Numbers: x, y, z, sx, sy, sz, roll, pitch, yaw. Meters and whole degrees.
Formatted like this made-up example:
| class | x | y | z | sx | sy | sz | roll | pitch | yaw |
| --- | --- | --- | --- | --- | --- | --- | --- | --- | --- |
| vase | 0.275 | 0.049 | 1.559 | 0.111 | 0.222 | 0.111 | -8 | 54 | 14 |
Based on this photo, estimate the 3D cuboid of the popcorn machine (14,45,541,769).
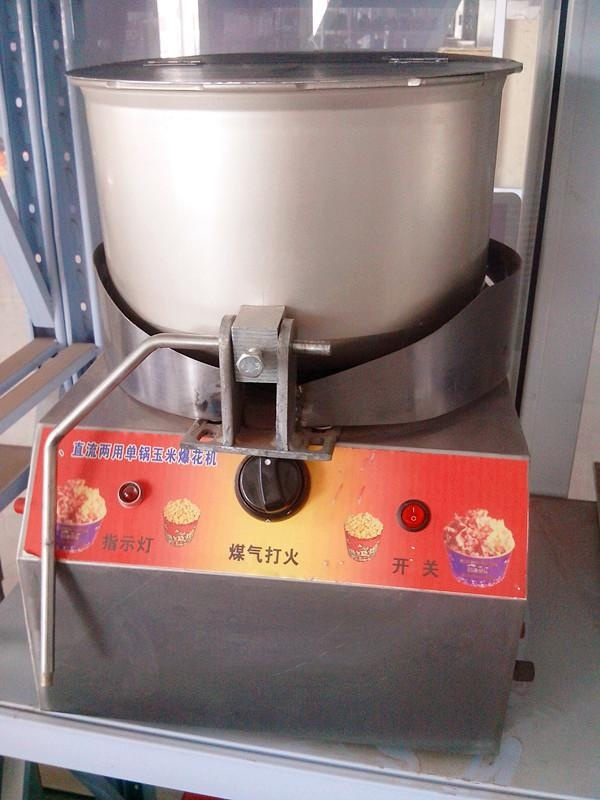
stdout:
| class | x | y | z | sx | sy | sz | roll | pitch | yaw |
| --- | --- | --- | --- | --- | --- | --- | --- | --- | --- |
| popcorn machine | -0.033 | -0.066 | 0.879 | 0.506 | 0.729 | 0.718 | 5 | 28 | 8 |

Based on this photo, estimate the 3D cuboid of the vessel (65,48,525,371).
| class | x | y | z | sx | sy | sz | roll | pitch | yaw |
| --- | --- | --- | --- | --- | --- | --- | --- | --- | --- |
| vessel | -0.017 | -0.237 | 0.792 | 0.471 | 0.355 | 0.476 | 13 | 30 | 24 |
